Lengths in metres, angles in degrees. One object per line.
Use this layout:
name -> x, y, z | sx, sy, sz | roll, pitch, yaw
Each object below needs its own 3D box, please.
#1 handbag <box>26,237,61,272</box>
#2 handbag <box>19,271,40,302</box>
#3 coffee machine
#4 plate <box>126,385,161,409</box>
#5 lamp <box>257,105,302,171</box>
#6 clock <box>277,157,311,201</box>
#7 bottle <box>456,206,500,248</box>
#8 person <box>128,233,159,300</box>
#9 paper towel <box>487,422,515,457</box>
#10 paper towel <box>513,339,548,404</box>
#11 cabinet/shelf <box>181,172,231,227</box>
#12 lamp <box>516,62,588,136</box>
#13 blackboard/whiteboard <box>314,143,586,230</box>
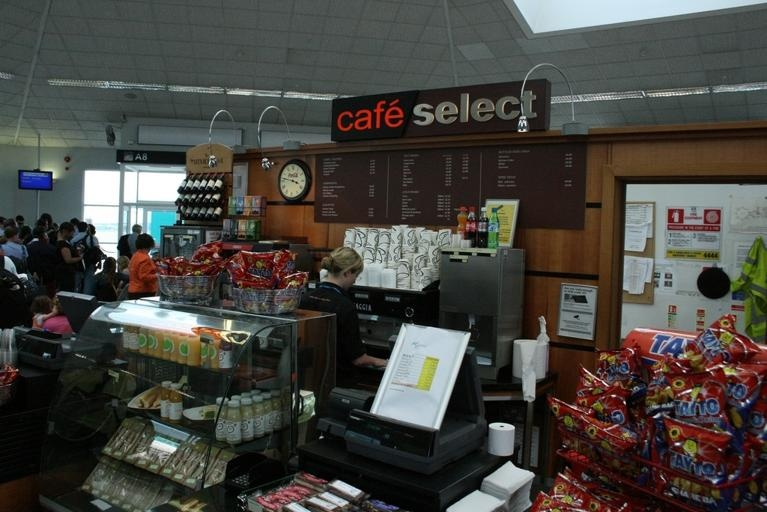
handbag -> -5.612, 0.003, 8.560 | 0.419, 0.520, 0.453 | -1, 4, -33
handbag -> -4.567, 0.398, 6.696 | 0.394, 0.359, 0.139 | 8, 10, 37
coffee machine -> 0.082, 0.492, 3.984 | 0.722, 0.638, 0.378 | -1, -4, 34
plate -> -1.387, 0.840, 3.029 | 0.138, 0.182, 0.055 | 17, -14, 28
lamp -> -1.194, -1.315, 5.963 | 0.554, 0.733, 0.246 | 1, 13, 25
clock -> -0.999, -0.863, 5.878 | 0.506, 0.482, 0.071 | 6, 6, 44
bottle -> 0.812, -0.242, 4.462 | 0.332, 0.328, 0.313 | 1, 4, 6
person -> -3.006, 0.143, 6.482 | 0.336, 0.798, 0.543 | -1, 4, -25
paper towel -> 0.573, 0.936, 2.656 | 0.150, 0.147, 0.164 | 0, -1, 0
paper towel -> 1.201, 0.895, 4.111 | 0.305, 0.461, 0.485 | 4, 7, 22
cabinet/shelf -> -2.189, -0.751, 6.386 | 0.725, 0.637, 0.257 | 5, 2, 24
lamp -> 1.446, -1.341, 4.509 | 0.689, 0.561, 0.207 | -3, 8, -25
blackboard/whiteboard -> 0.661, -0.663, 5.027 | 2.432, 0.762, 0.400 | 2, 4, 19
